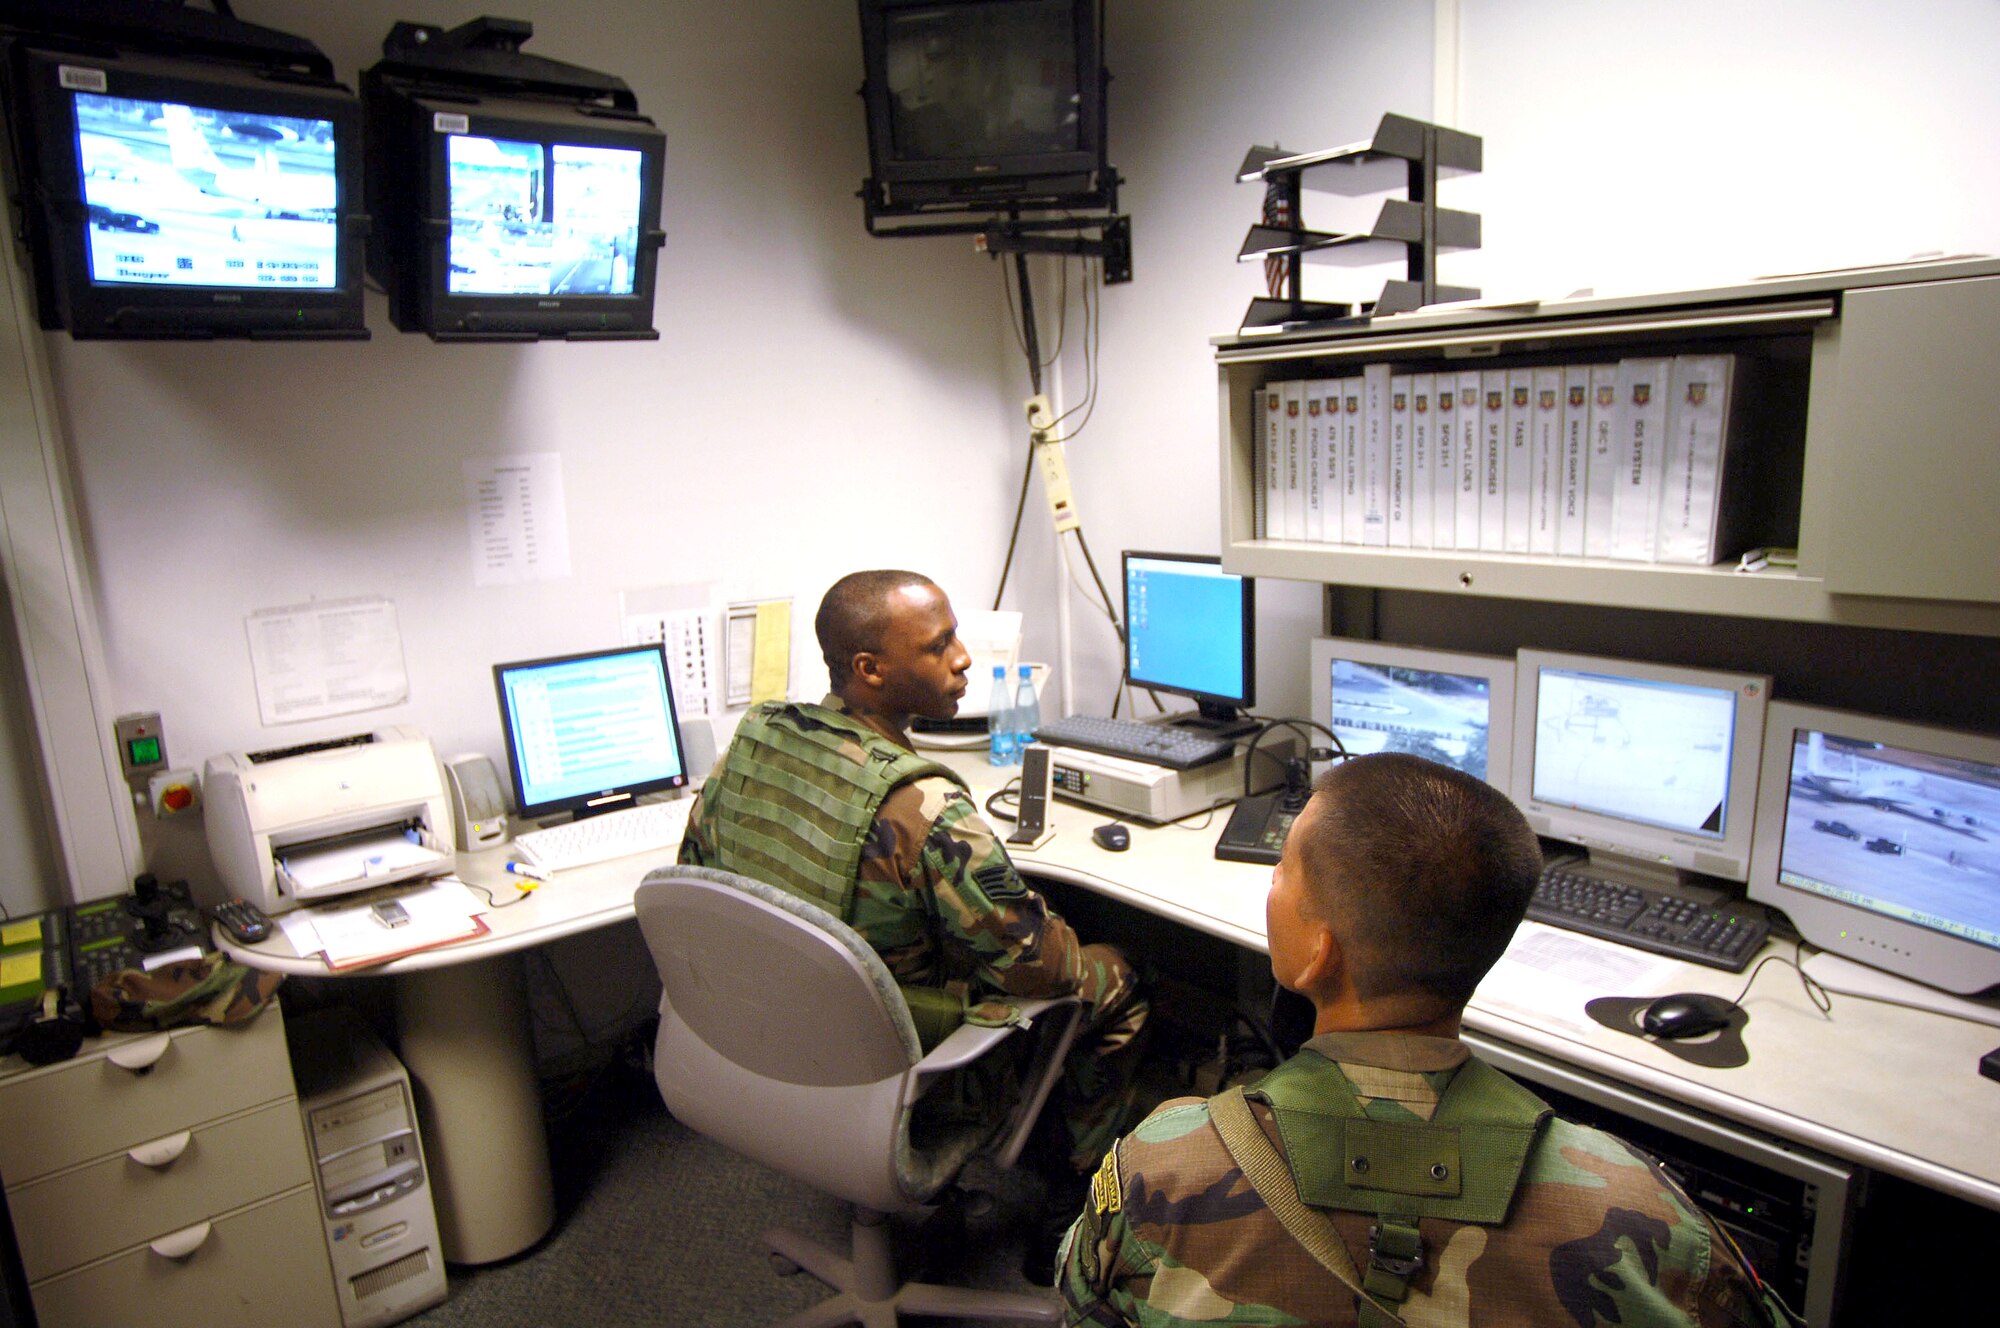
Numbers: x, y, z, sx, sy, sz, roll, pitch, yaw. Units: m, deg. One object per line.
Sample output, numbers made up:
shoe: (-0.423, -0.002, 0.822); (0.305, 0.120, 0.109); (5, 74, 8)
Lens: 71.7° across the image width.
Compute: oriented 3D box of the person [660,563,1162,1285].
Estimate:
person: (-0.195, 0.656, 3.356); (1.061, 1.716, 1.139); (-8, 17, -35)

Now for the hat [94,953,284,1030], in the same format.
hat: (-1.816, 0.738, 3.071); (0.252, 0.090, 0.179); (-3, 1, -11)

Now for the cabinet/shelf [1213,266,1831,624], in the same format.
cabinet/shelf: (1.144, -0.482, 3.154); (1.431, 0.644, 0.295); (7, 17, 38)

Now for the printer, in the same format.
printer: (-1.603, 0.383, 3.333); (0.388, 0.292, 0.525); (-13, 39, -35)

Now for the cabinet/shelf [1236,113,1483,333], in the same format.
cabinet/shelf: (0.874, -1.049, 3.392); (0.380, 0.408, 0.486); (-7, 11, -27)

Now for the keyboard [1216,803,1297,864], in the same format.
keyboard: (0.623, 0.422, 3.416); (0.153, 0.048, 0.210); (6, 22, 15)

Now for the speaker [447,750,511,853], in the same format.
speaker: (-1.432, 0.352, 3.664); (0.226, 0.242, 0.145); (15, 17, 28)

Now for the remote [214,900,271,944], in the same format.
remote: (-1.772, 0.599, 3.229); (0.141, 0.042, 0.078); (23, 29, 40)

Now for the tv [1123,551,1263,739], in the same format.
tv: (0.528, -0.065, 3.788); (0.470, 0.467, 0.151); (9, 15, 41)

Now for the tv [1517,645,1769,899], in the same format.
tv: (1.428, 0.241, 3.043); (0.485, 0.487, 0.174); (10, 18, 40)

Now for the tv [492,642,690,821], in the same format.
tv: (-1.136, 0.193, 3.758); (0.426, 0.405, 0.125); (-11, 6, -26)

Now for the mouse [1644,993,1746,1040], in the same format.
mouse: (1.348, 0.683, 2.678); (0.163, 0.052, 0.093); (-12, 23, -1)
